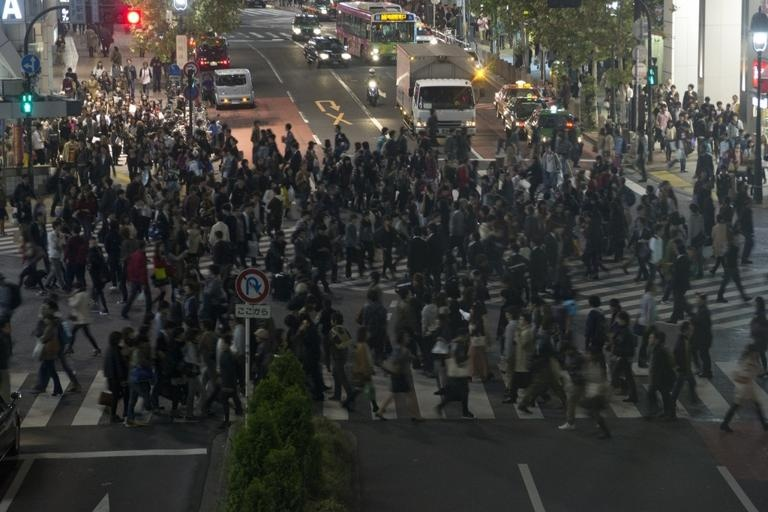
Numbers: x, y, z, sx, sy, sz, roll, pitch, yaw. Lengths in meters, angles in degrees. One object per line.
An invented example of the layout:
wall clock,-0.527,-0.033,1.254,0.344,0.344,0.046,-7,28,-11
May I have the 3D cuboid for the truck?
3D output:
truck,2.566,-7.719,49.314,2.916,4.943,9.034,0,13,-2
